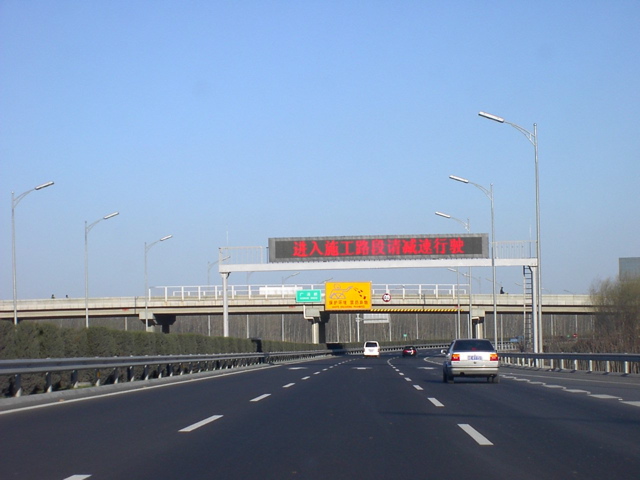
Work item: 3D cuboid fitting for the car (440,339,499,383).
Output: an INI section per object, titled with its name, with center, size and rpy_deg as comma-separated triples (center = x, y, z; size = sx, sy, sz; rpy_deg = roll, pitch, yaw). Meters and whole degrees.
[car]
center = 5.160, 4.066, 35.394
size = 1.837, 1.473, 1.243
rpy_deg = -2, -6, 9
